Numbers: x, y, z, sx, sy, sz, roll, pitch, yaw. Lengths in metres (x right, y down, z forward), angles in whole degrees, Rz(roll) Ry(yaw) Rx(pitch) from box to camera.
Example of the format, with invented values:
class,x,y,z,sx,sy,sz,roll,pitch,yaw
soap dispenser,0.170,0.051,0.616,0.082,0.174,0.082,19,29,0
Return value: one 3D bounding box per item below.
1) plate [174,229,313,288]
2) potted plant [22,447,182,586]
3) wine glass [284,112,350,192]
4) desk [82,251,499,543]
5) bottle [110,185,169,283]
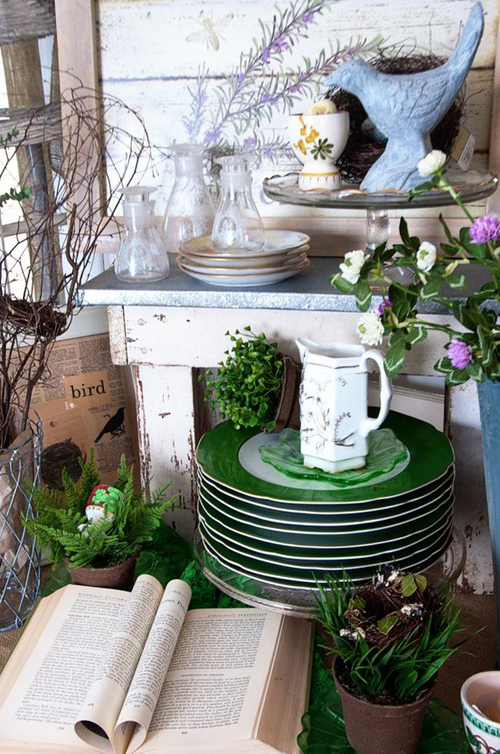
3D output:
class,x,y,z,sx,sy,sz,roll,pitch,yaw
plate,0.003,-0.139,0.672,0.174,0.067,0.160,-4,11,-8
potted plant,-0.195,0.141,0.719,0.164,0.084,0.180,2,8,-10
wine glass,0.079,-0.248,0.642,0.071,0.081,0.068,-2,21,10
desk,0.040,0.090,0.835,0.529,0.492,0.338,0,12,0
bottle,-0.131,-0.168,0.687,0.056,0.111,0.061,-2,11,0
